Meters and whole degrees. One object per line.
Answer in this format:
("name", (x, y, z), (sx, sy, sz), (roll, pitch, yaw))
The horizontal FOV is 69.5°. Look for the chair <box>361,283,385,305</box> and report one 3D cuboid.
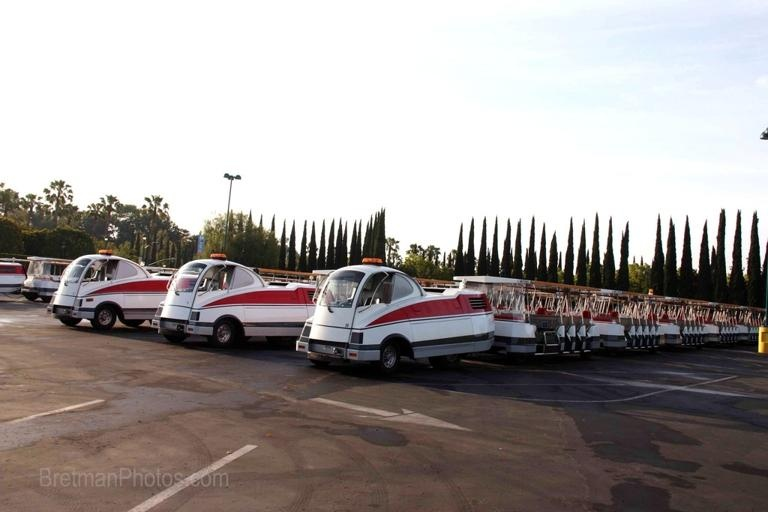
("chair", (-0.356, 1.051, 15.294), (0.593, 0.349, 0.925), (-1, -2, -2))
